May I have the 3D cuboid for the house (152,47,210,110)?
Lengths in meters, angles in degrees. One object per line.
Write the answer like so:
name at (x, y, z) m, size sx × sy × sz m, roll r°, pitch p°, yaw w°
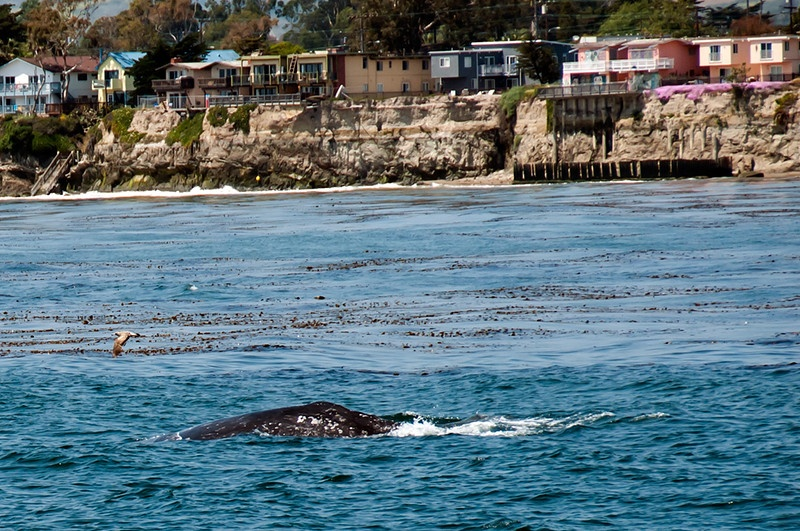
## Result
house at (-25.746, -21.672, 240.017) m, size 5.836 × 6.100 × 14.243 m, roll -4°, pitch 5°, yaw -6°

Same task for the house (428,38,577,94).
house at (12.279, -23.072, 235.334) m, size 17.146 × 5.839 × 14.164 m, roll -3°, pitch 5°, yaw 0°

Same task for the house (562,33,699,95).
house at (25.322, -22.294, 224.650) m, size 13.097 × 5.409 × 10.655 m, roll 1°, pitch 7°, yaw 40°

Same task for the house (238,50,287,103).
house at (-16.104, -22.436, 237.866) m, size 3.922 × 4.771 × 6.971 m, roll -7°, pitch 7°, yaw -31°

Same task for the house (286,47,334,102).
house at (-11.226, -22.520, 236.953) m, size 7.181 × 5.637 × 6.319 m, roll -1°, pitch 2°, yaw 7°
